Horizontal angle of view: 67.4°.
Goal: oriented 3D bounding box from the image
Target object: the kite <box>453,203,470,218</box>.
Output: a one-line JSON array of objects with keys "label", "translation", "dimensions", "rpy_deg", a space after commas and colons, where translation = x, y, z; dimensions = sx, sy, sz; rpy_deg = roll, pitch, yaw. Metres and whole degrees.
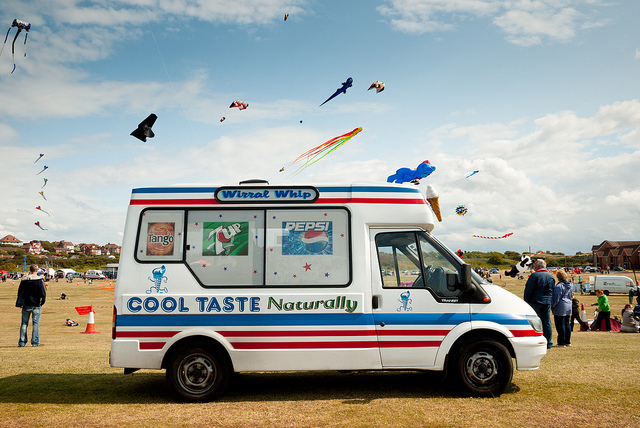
[{"label": "kite", "translation": [3.091, -0.084, 10.619], "dimensions": [0.300, 0.274, 0.015], "rpy_deg": [4, -21, -7]}]

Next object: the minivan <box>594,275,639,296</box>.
[{"label": "minivan", "translation": [27.810, 6.772, 45.299], "dimensions": [2.742, 1.792, 3.529], "rpy_deg": [-4, -4, 42]}]

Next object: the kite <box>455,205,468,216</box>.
[{"label": "kite", "translation": [3.091, -0.084, 10.619], "dimensions": [0.290, 0.262, 0.071], "rpy_deg": [2, -22, -5]}]

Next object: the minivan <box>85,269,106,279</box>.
[{"label": "minivan", "translation": [-44.282, 11.766, 93.337], "dimensions": [4.087, 1.769, 1.548], "rpy_deg": [-1, 2, 2]}]

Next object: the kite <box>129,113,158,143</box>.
[{"label": "kite", "translation": [-3.858, -1.934, 10.697], "dimensions": [0.430, 0.713, 0.639], "rpy_deg": [1, -4, -30]}]

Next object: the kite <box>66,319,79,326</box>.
[{"label": "kite", "translation": [-9.762, 4.267, 18.906], "dimensions": [0.611, 0.214, 0.304], "rpy_deg": [-4, -4, 37]}]
